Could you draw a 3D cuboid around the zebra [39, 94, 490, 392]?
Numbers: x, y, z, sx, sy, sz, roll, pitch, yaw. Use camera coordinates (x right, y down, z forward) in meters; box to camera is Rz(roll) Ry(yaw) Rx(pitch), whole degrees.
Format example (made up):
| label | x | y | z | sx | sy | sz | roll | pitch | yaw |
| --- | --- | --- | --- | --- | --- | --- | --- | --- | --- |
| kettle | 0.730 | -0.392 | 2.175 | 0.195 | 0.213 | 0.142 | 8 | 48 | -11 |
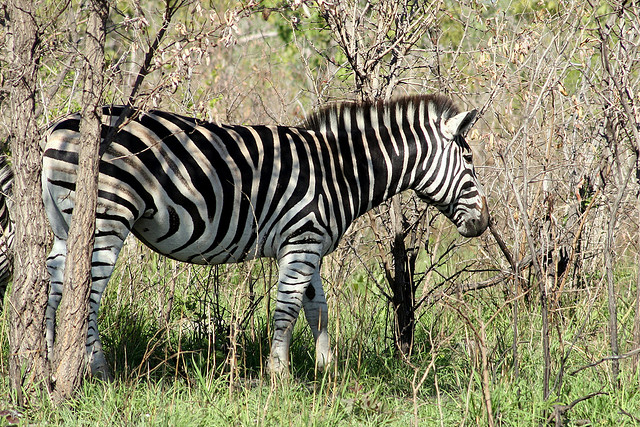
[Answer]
| label | x | y | z | sx | sy | sz | roll | pitch | yaw |
| --- | --- | --- | --- | --- | --- | --- | --- | --- | --- |
| zebra | -0.514 | 0.209 | 8.037 | 4.281 | 3.201 | 1.135 | 4 | 8 | -11 |
